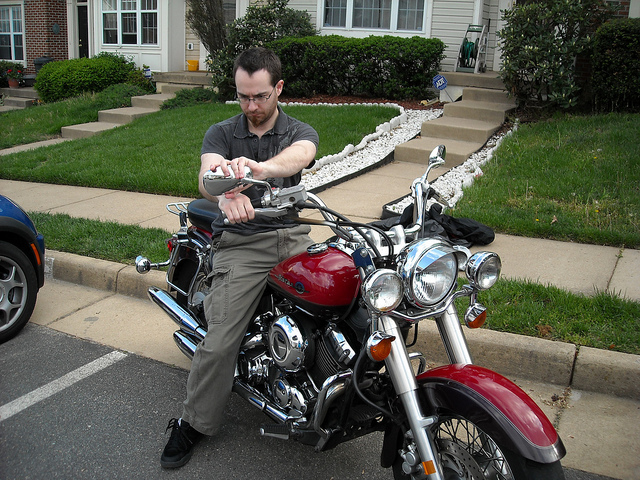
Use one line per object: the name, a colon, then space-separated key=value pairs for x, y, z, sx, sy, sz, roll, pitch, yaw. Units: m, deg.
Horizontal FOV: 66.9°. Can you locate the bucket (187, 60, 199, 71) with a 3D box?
bucket: x=-4.904 y=-6.708 z=18.647 sx=0.321 sy=0.400 sz=0.494 roll=7 pitch=19 yaw=17

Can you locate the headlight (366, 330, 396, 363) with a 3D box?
headlight: x=0.284 y=0.493 z=2.340 sx=0.136 sy=0.169 sz=0.133 roll=-2 pitch=-2 yaw=-37

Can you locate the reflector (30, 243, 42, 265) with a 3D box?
reflector: x=-2.622 y=0.129 z=4.492 sx=0.026 sy=0.203 sz=0.067 roll=15 pitch=22 yaw=35

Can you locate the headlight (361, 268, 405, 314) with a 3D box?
headlight: x=0.316 y=0.241 z=2.360 sx=0.129 sy=0.178 sz=0.196 roll=7 pitch=62 yaw=-1

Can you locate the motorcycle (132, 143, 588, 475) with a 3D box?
motorcycle: x=0.087 y=0.438 z=2.973 sx=2.681 sy=2.030 sz=1.330 roll=12 pitch=21 yaw=29

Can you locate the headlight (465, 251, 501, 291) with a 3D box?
headlight: x=0.836 y=0.157 z=2.512 sx=0.167 sy=0.201 sz=0.104 roll=8 pitch=19 yaw=19
